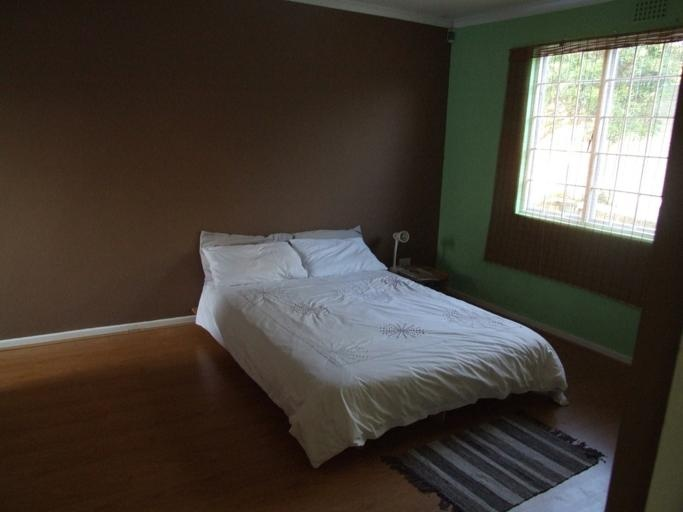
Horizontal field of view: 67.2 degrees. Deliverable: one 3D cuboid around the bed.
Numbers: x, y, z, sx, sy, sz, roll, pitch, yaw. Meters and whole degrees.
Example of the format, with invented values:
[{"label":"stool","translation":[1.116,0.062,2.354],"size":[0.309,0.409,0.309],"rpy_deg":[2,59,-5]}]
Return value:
[{"label":"bed","translation":[0.178,0.614,4.626],"size":[2.201,1.029,3.031],"rpy_deg":[-6,20,-38]}]
